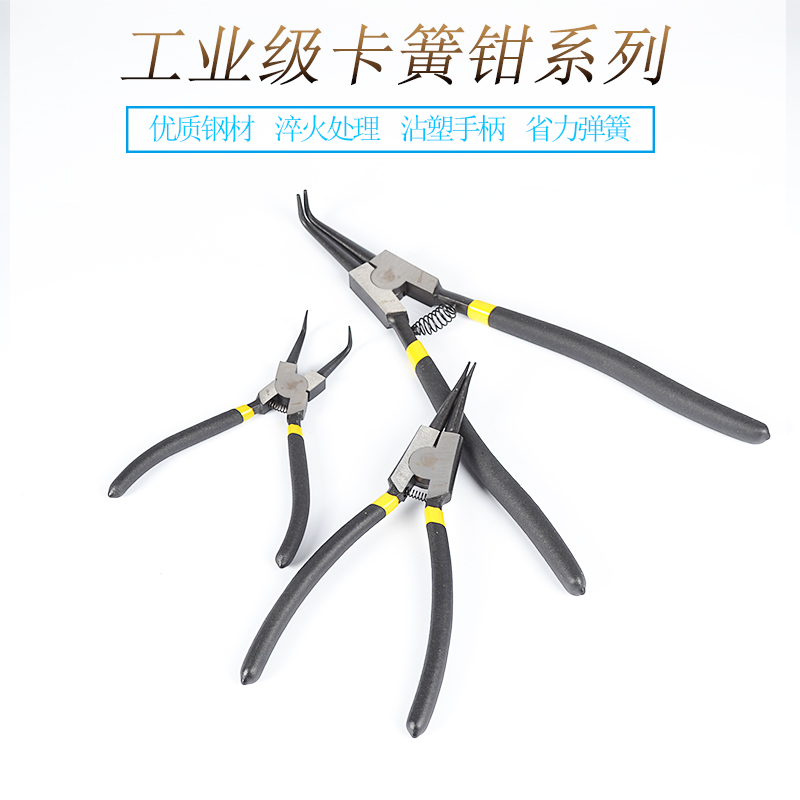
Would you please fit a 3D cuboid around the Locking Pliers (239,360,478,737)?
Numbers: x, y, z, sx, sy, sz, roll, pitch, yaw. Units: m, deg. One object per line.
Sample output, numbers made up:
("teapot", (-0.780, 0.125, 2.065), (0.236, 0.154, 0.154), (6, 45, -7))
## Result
("Locking Pliers", (0.006, 0.151, 1.117), (0.230, 0.597, 0.032), (12, -45, 13))
